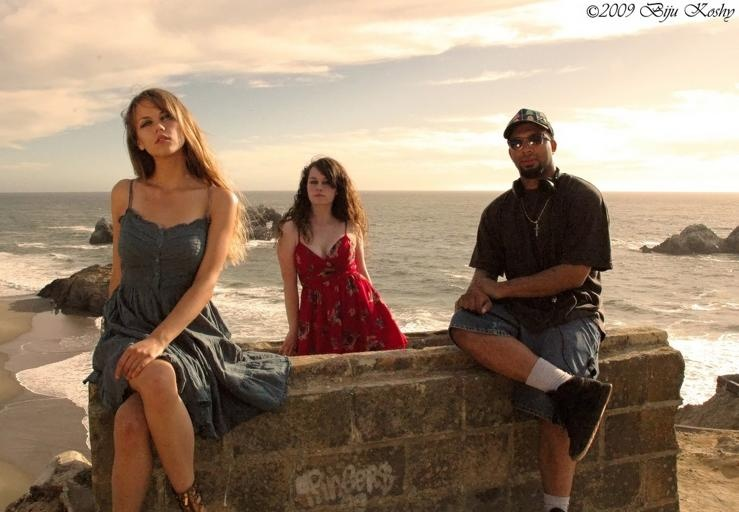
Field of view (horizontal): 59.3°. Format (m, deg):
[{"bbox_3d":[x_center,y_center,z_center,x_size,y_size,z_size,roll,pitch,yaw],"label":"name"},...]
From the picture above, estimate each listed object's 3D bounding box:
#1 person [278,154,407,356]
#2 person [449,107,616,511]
[{"bbox_3d":[-0.274,0.220,6.246,1.412,2.264,0.808,-2,19,-15],"label":"person"},{"bbox_3d":[1.304,0.437,5.105,1.256,3.175,1.017,3,9,25],"label":"person"}]
